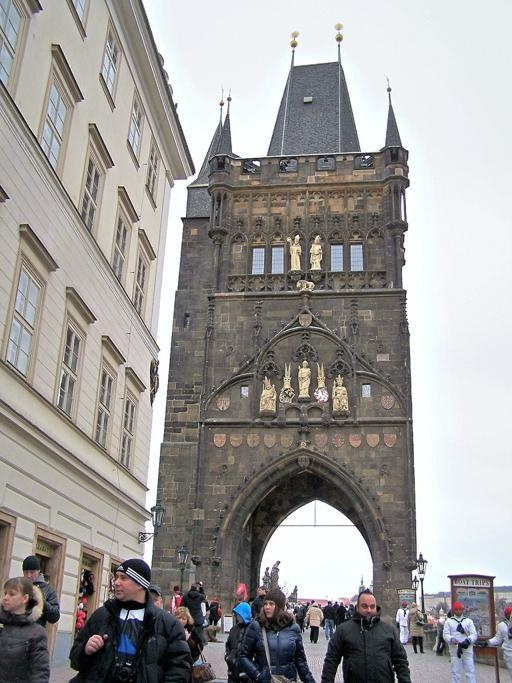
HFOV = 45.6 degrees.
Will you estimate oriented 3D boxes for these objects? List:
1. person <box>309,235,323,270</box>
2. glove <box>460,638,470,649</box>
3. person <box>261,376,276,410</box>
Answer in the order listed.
[{"bbox_3d":[3.059,-4.568,31.474,0.658,2.235,0.384,-2,-24,4],"label":"person"},{"bbox_3d":[3.064,4.455,8.980,0.127,0.132,0.074,7,-10,-14],"label":"glove"},{"bbox_3d":[0.536,2.590,29.137,0.761,1.781,0.325,-1,-24,3],"label":"person"}]
